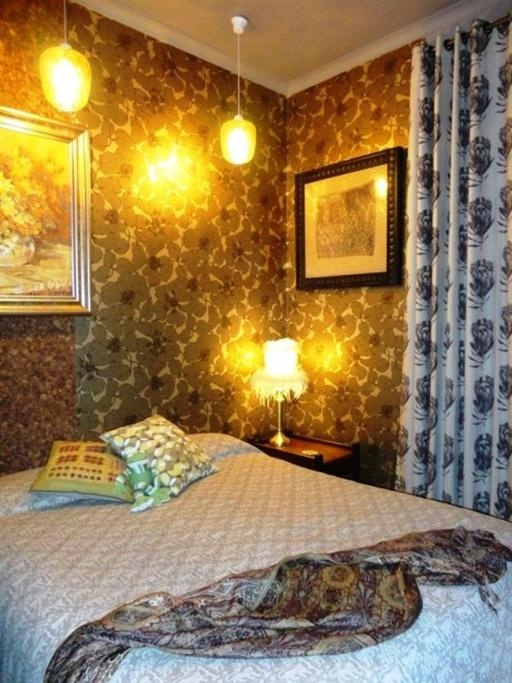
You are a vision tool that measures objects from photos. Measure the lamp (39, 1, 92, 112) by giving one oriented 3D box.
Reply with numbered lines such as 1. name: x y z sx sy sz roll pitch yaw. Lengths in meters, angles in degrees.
1. lamp: -0.697 -0.971 1.950 0.174 0.148 0.112 -2 2 -25

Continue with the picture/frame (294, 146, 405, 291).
1. picture/frame: 0.521 -0.693 3.173 0.068 0.741 0.816 -8 9 -36

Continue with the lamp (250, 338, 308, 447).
1. lamp: 0.146 0.302 3.228 0.321 0.636 0.515 -2 2 5

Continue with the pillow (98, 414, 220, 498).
1. pillow: -0.386 0.435 2.095 0.301 0.099 0.314 28 -2 4
